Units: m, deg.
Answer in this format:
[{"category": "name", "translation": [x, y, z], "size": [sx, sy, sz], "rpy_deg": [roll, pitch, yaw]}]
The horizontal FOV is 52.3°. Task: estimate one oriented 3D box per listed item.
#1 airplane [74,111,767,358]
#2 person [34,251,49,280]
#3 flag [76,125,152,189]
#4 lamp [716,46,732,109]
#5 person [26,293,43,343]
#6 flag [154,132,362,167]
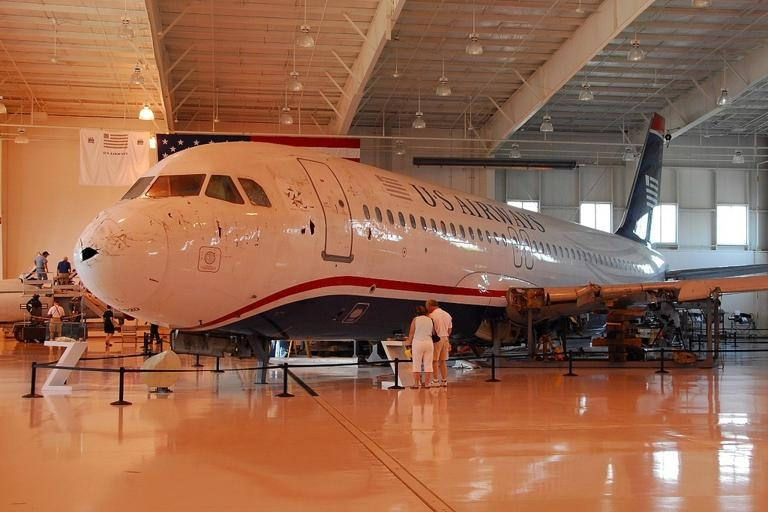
[{"category": "airplane", "translation": [-0.135, -0.133, 20.191], "size": [14.910, 4.846, 4.080], "rpy_deg": [3, 5, -29]}, {"category": "person", "translation": [-14.824, 0.359, 33.843], "size": [0.506, 1.164, 1.876], "rpy_deg": [4, 4, -23]}, {"category": "flag", "translation": [-11.234, -4.115, 32.610], "size": [3.342, 2.341, 0.270], "rpy_deg": [3, 8, 15]}, {"category": "lamp", "translation": [14.921, -7.633, 34.095], "size": [0.563, 1.864, 2.553], "rpy_deg": [8, 5, 22]}, {"category": "person", "translation": [-15.642, 2.749, 35.086], "size": [0.704, 2.181, 0.816], "rpy_deg": [3, 5, -36]}, {"category": "flag", "translation": [-3.975, -3.447, 24.763], "size": [4.727, 0.720, 0.060], "rpy_deg": [2, -29, -9]}]
